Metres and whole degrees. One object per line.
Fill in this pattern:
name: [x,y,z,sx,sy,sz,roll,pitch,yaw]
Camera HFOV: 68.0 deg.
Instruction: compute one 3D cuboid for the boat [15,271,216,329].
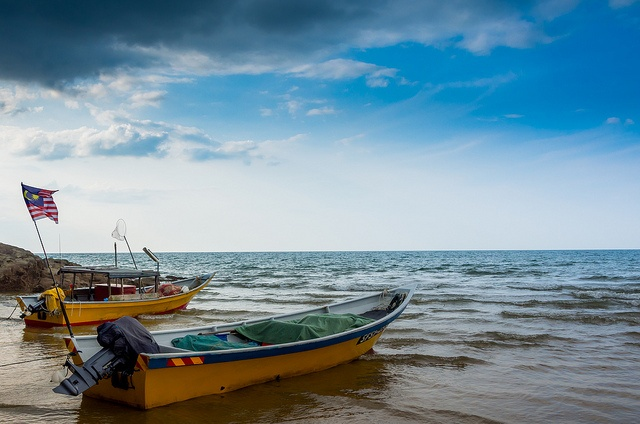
boat: [-8.811,3.472,20.644,3.205,1.609,9.411,0,0,44]
